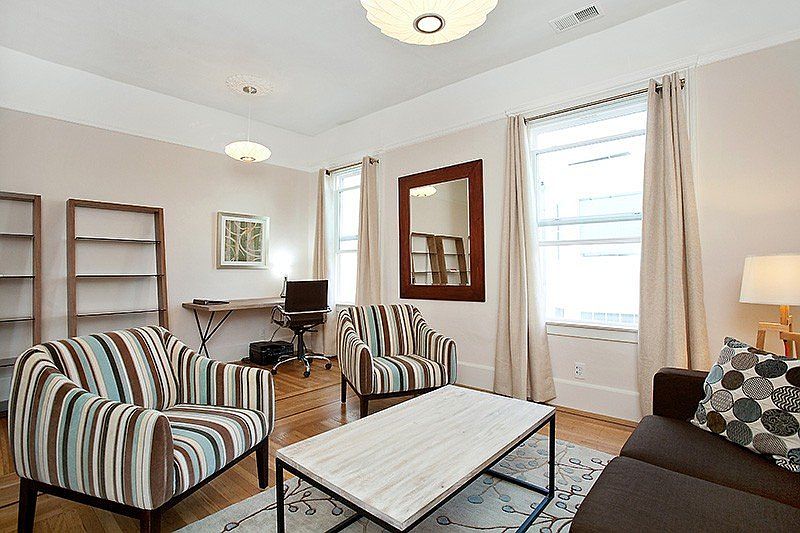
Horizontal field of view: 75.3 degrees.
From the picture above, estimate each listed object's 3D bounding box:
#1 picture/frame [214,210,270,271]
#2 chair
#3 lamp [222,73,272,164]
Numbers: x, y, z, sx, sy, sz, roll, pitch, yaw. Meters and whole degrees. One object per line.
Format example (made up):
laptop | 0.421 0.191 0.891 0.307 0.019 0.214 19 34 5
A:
picture/frame | -2.197 -0.355 7.067 0.070 0.862 0.892 0 0 40
chair | -1.319 0.776 6.856 0.751 1.214 1.079 -2 0 -8
lamp | -1.809 -1.714 6.165 0.604 0.878 0.594 3 -5 -26
